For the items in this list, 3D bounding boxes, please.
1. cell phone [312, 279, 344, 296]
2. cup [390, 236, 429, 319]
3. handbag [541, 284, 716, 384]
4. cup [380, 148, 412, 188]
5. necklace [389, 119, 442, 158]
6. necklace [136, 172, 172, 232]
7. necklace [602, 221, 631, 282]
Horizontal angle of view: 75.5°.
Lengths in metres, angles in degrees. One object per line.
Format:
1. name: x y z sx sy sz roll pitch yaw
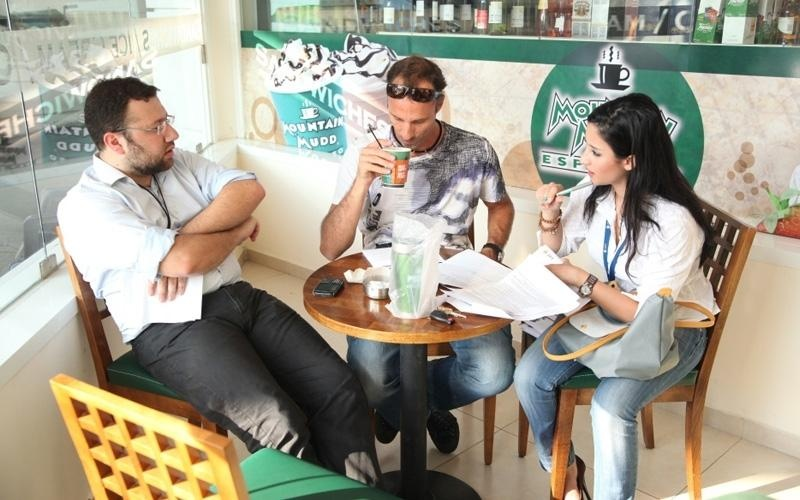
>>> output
1. cell phone: -0.266 0.145 1.972 0.093 0.033 0.107 3 20 14
2. cup: 0.029 0.100 1.780 0.122 0.279 0.065 1 20 9
3. handbag: 0.809 0.308 1.929 0.514 0.287 0.405 -5 20 -10
4. cup: -0.003 -0.319 2.006 0.141 0.147 0.141 0 14 0
5. necklace: 0.088 -0.520 2.337 0.241 0.193 0.206 -3 19 -1
6. necklace: -1.071 -0.214 2.269 0.080 0.274 0.029 -23 -2 -38
7. necklace: 0.888 0.004 2.142 0.112 0.202 0.045 12 26 40
